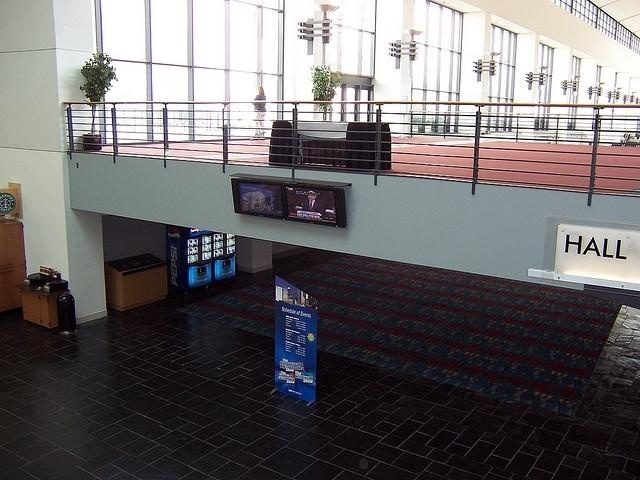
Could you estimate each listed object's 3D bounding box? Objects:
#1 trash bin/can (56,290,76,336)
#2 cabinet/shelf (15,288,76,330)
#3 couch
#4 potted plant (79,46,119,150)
[{"bbox_3d":[-5.715,1.648,10.239,0.356,0.889,0.386,-5,13,-20],"label":"trash bin/can"},{"bbox_3d":[-6.315,1.538,10.743,1.417,0.905,0.826,5,9,35],"label":"cabinet/shelf"},{"bbox_3d":[0.163,-1.641,7.757,2.151,0.787,1.724,10,16,38],"label":"couch"},{"bbox_3d":[-4.971,-3.061,10.081,0.800,2.175,1.143,-2,13,-9],"label":"potted plant"}]
